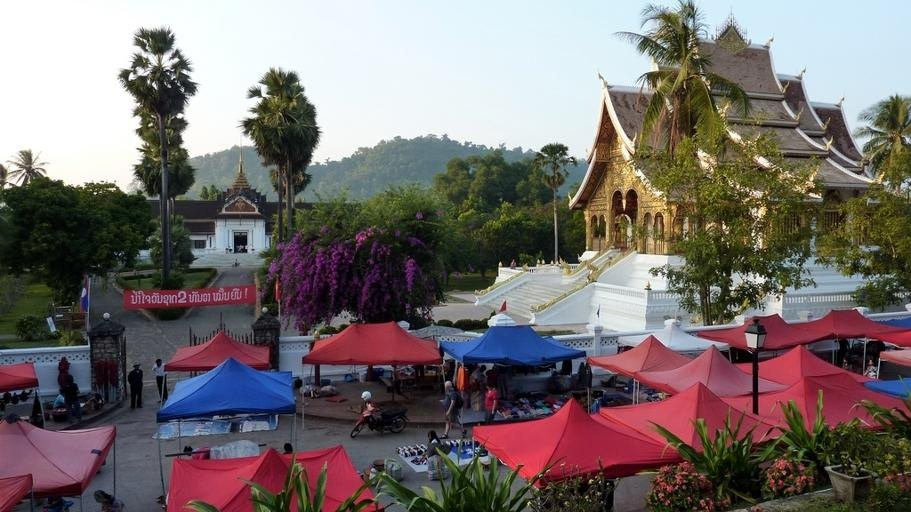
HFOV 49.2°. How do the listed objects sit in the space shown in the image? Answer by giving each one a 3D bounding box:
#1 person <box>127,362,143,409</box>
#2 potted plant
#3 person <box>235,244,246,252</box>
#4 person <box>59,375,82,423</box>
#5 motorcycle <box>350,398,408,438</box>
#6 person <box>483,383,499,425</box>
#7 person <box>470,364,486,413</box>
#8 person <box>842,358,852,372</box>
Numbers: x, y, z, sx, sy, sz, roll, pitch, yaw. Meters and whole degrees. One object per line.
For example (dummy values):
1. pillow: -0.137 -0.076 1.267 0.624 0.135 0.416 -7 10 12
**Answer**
1. person: -16.884 6.857 52.829 0.667 2.430 1.041 1 -3 -15
2. potted plant: 17.226 9.014 43.749 2.035 3.554 1.138 -1 -3 15
3. person: -26.138 -1.040 121.165 1.037 0.999 0.425 -1 0 -16
4. person: -19.808 7.366 51.512 1.182 2.364 0.691 -2 -3 30
5. motorcycle: -3.843 8.129 50.228 3.034 1.899 1.672 0 12 -21
6. person: 1.785 7.590 50.877 0.644 1.680 1.498 0 -3 1
7. person: 1.169 6.957 52.161 1.042 2.520 0.912 2 16 9
8. person: 22.077 6.083 56.616 0.470 0.521 1.096 -1 -3 22
